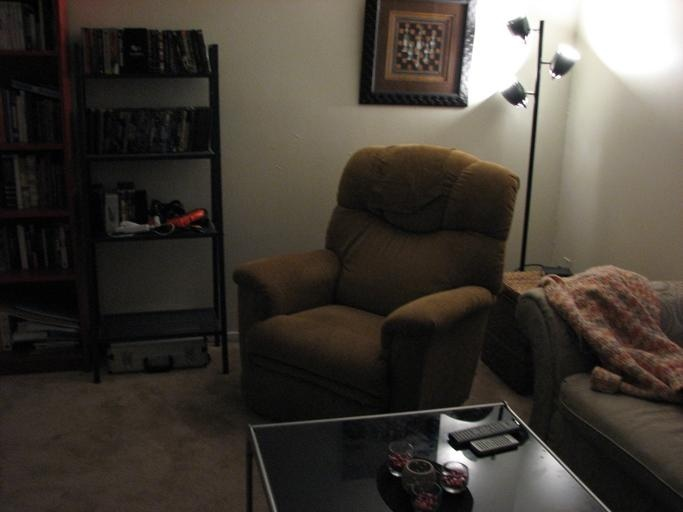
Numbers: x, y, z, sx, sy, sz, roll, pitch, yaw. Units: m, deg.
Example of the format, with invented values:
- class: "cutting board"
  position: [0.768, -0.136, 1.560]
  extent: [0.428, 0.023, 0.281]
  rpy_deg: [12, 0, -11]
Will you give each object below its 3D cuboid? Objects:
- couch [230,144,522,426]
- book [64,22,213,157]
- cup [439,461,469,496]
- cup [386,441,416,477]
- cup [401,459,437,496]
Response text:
- class: "couch"
  position: [0.147, 0.142, 2.670]
  extent: [1.222, 1.181, 1.211]
  rpy_deg: [5, 15, 12]
- class: "book"
  position: [-1.034, -0.841, 2.755]
  extent: [0.694, 0.677, 0.277]
  rpy_deg: [-1, 29, -2]
- class: "cup"
  position: [0.338, 0.665, 1.638]
  extent: [0.084, 0.066, 0.087]
  rpy_deg: [0, -6, 0]
- class: "cup"
  position: [0.185, 0.617, 1.695]
  extent: [0.089, 0.093, 0.095]
  rpy_deg: [2, 1, 0]
- class: "cup"
  position: [0.227, 0.646, 1.619]
  extent: [0.089, 0.078, 0.091]
  rpy_deg: [-3, -3, 0]
